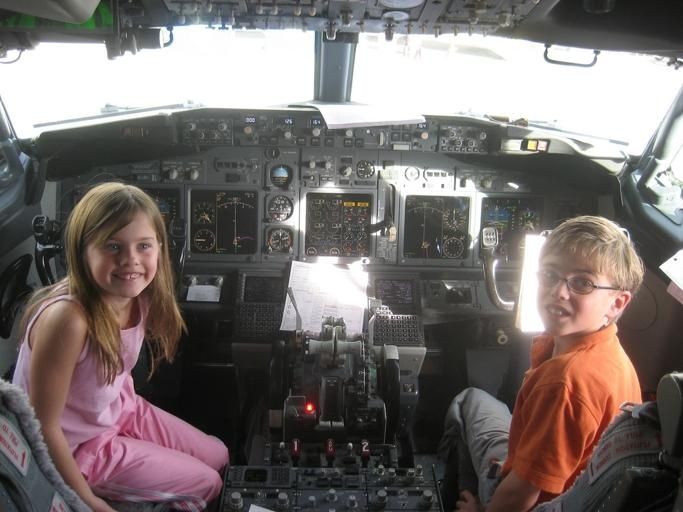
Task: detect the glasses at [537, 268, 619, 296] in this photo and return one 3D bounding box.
[{"bbox_3d":[0.894,0.100,2.295,0.281,0.100,0.070,0,-9,14],"label":"glasses"}]
